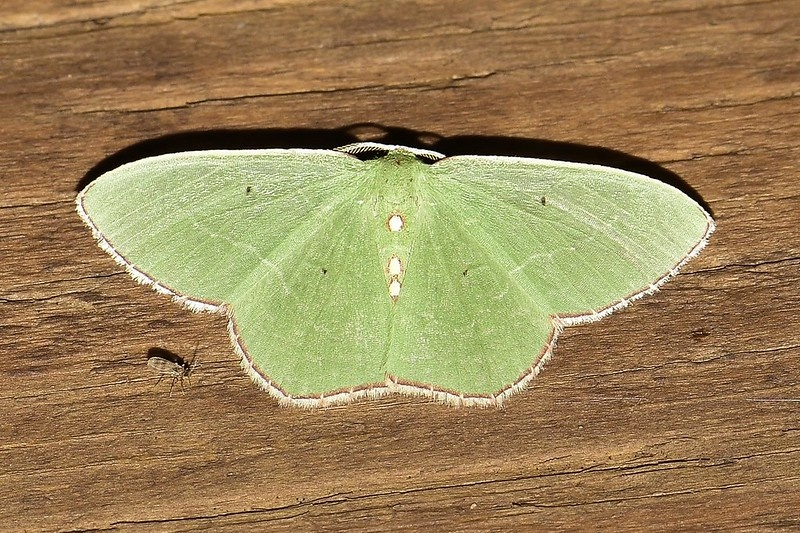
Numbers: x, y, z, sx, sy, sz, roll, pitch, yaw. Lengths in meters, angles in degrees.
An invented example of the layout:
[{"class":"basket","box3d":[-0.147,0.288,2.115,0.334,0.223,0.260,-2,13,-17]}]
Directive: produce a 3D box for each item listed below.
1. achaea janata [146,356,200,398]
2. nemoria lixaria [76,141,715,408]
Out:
[{"class":"achaea janata","box3d":[-2.313,1.121,11.001,0.370,0.361,0.351,11,-26,-23]},{"class":"nemoria lixaria","box3d":[-0.082,0.139,10.576,5.370,2.515,0.468,1,9,0]}]
